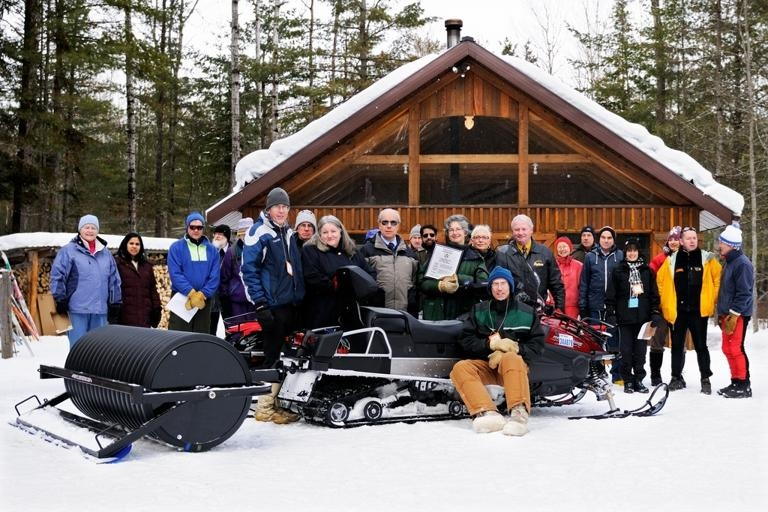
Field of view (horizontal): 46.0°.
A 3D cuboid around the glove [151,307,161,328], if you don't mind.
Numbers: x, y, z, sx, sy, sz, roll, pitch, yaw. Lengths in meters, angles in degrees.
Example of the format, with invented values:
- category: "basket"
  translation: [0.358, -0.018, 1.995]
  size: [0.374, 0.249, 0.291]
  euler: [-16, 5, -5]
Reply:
- category: "glove"
  translation: [-3.992, 1.074, 15.735]
  size: [0.214, 0.372, 0.085]
  euler: [7, -14, -7]

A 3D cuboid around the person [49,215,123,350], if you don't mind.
- category: "person"
  translation: [-4.982, 0.413, 14.996]
  size: [1.127, 2.050, 0.687]
  euler: [-4, 14, -20]

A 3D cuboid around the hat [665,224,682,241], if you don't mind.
- category: "hat"
  translation: [5.853, -0.462, 18.125]
  size: [0.306, 0.311, 0.492]
  euler: [6, -8, 8]

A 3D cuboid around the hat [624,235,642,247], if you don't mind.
- category: "hat"
  translation: [5.357, -0.306, 19.238]
  size: [0.301, 0.173, 0.438]
  euler: [1, -1, 6]

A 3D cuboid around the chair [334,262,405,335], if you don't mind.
- category: "chair"
  translation: [-0.277, 0.556, 13.963]
  size: [0.816, 1.463, 1.154]
  euler: [-8, 10, -29]

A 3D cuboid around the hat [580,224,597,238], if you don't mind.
- category: "hat"
  translation: [4.004, -0.492, 17.625]
  size: [0.256, 0.304, 0.364]
  euler: [5, 9, 15]

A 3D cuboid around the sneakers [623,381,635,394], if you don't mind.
- category: "sneakers"
  translation: [4.330, 2.310, 15.874]
  size: [0.172, 0.212, 0.158]
  euler: [0, -16, 0]

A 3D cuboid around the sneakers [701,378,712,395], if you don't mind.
- category: "sneakers"
  translation: [5.648, 2.274, 15.761]
  size: [0.158, 0.289, 0.280]
  euler: [4, -2, -29]

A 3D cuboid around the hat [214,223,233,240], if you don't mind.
- category: "hat"
  translation: [-3.122, -0.459, 17.369]
  size: [0.261, 0.262, 0.318]
  euler: [6, 1, -9]

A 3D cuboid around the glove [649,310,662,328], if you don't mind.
- category: "glove"
  translation: [4.774, 1.138, 15.754]
  size: [0.219, 0.118, 0.393]
  euler: [-5, 17, 15]

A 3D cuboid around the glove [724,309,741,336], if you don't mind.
- category: "glove"
  translation: [6.074, 1.151, 15.675]
  size: [0.114, 0.411, 0.221]
  euler: [16, -5, -43]

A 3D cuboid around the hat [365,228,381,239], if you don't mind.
- category: "hat"
  translation: [-0.180, -0.373, 15.267]
  size: [0.087, 0.273, 0.253]
  euler: [27, -30, -35]

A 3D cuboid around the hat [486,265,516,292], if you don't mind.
- category: "hat"
  translation: [1.843, 0.329, 14.090]
  size: [0.318, 0.442, 0.287]
  euler: [2, -9, 5]

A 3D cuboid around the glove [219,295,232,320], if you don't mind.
- category: "glove"
  translation: [-2.872, 0.922, 16.222]
  size: [0.141, 0.406, 0.286]
  euler: [-2, 10, -24]

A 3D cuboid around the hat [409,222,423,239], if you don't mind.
- category: "hat"
  translation: [0.565, -0.410, 16.112]
  size: [0.186, 0.233, 0.269]
  euler: [5, -3, -2]

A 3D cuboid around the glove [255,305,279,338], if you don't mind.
- category: "glove"
  translation: [-1.820, 1.004, 13.866]
  size: [0.294, 0.410, 0.182]
  euler: [11, 22, 43]

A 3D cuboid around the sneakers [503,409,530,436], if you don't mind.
- category: "sneakers"
  translation: [1.973, 2.473, 13.401]
  size: [0.257, 0.296, 0.684]
  euler: [-1, -7, 11]

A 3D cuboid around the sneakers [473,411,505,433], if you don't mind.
- category: "sneakers"
  translation: [1.574, 2.453, 13.416]
  size: [0.480, 0.254, 0.293]
  euler: [2, 13, 5]

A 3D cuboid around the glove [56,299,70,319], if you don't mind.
- category: "glove"
  translation: [-5.402, 0.858, 15.062]
  size: [0.196, 0.389, 0.536]
  euler: [-4, 14, -19]

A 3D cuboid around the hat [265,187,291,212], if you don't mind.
- category: "hat"
  translation: [-1.684, -0.880, 14.213]
  size: [0.332, 0.320, 0.377]
  euler: [7, -12, -27]

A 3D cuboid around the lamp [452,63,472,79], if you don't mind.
- category: "lamp"
  translation: [1.876, -4.412, 21.643]
  size: [0.264, 0.124, 0.368]
  euler: [8, -16, -31]

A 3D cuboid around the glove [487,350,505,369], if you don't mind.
- category: "glove"
  translation: [1.706, 1.584, 13.723]
  size: [0.099, 0.261, 0.187]
  euler: [18, 12, -35]

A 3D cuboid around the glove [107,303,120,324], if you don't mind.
- category: "glove"
  translation: [-4.596, 0.956, 15.219]
  size: [0.277, 0.385, 0.211]
  euler: [4, 14, -13]

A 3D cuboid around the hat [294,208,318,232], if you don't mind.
- category: "hat"
  translation: [-1.289, -0.602, 14.865]
  size: [0.302, 0.369, 0.418]
  euler: [3, -14, -6]
